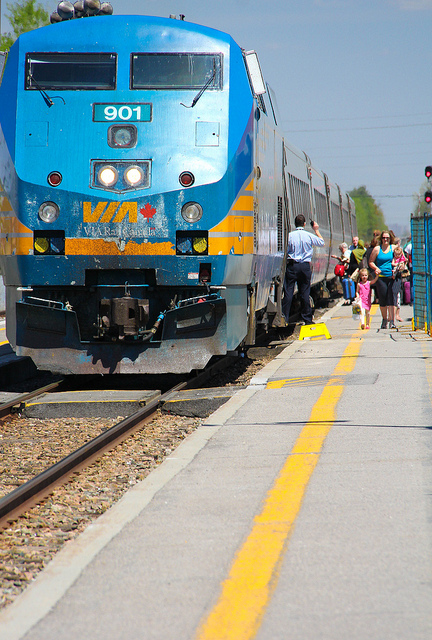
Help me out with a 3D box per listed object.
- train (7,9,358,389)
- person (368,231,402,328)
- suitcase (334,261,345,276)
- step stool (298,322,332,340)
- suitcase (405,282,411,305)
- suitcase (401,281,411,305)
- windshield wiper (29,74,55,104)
[{"bbox_3d":[-0.382,-1.441,8.976,2.700,4.287,4.984,-4,1,13],"label":"train"},{"bbox_3d":[3.262,-0.806,12.351,0.510,1.693,0.806,-4,1,18],"label":"person"},{"bbox_3d":[3.568,-1.492,18.641,0.386,0.393,0.272,1,-11,25],"label":"suitcase"},{"bbox_3d":[1.794,0.171,11.762,0.413,0.207,0.337,-2,5,16],"label":"step stool"},{"bbox_3d":[5.519,-0.792,18.442,0.144,0.568,0.828,-4,0,15],"label":"suitcase"},{"bbox_3d":[5.512,-0.810,18.524,0.238,0.600,0.983,-4,0,16],"label":"suitcase"},{"bbox_3d":[-1.905,-2.526,6.906,0.061,0.433,0.070,-32,-20,-22],"label":"windshield wiper"}]
